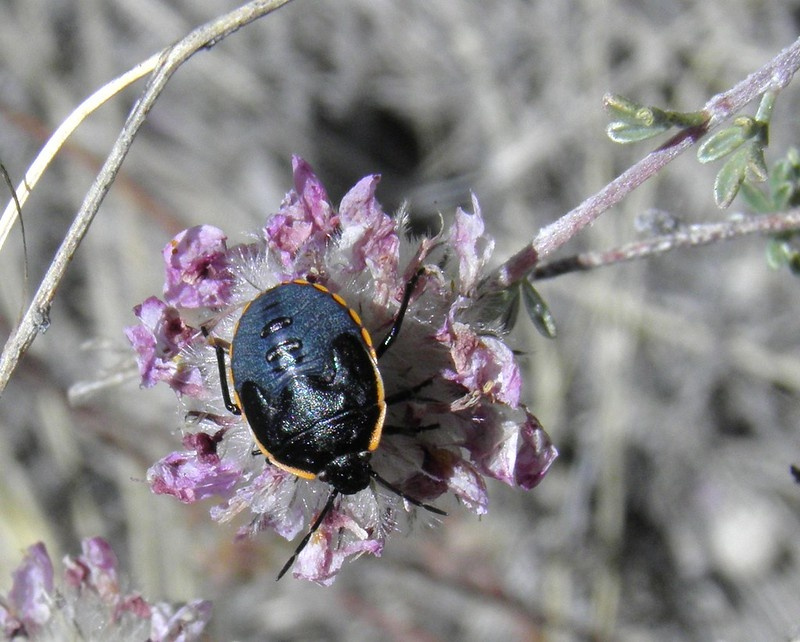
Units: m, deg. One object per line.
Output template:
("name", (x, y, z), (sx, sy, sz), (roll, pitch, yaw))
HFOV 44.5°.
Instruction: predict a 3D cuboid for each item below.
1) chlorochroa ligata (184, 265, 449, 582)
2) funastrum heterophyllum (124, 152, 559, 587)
("chlorochroa ligata", (-0.267, 0.232, 3.239), (0.855, 0.252, 0.984), (-18, 95, 16))
("funastrum heterophyllum", (-0.292, 0.215, 3.653), (1.308, 1.345, 1.532), (-6, 107, -22))
